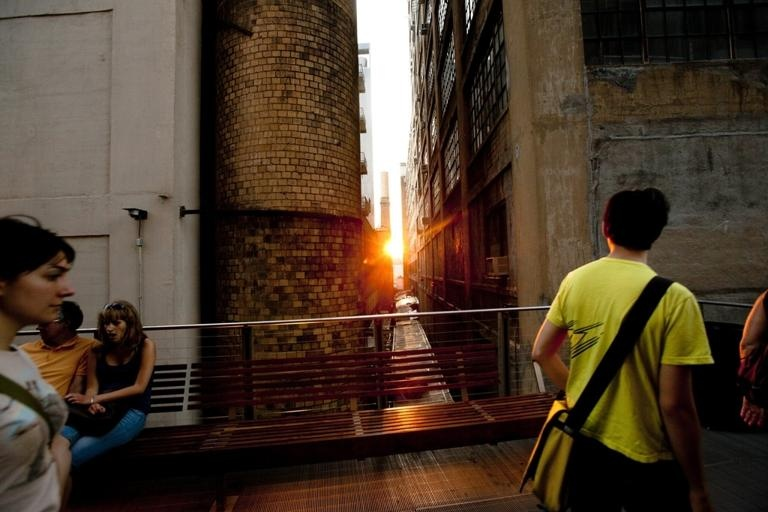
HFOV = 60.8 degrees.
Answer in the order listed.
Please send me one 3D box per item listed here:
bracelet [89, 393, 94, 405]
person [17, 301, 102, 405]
[{"bbox_3d":[-4.621,2.281,10.416,0.076,0.094,0.224,-3,3,-22],"label":"bracelet"},{"bbox_3d":[-5.476,1.575,10.782,1.438,1.514,0.855,-1,1,9],"label":"person"}]
